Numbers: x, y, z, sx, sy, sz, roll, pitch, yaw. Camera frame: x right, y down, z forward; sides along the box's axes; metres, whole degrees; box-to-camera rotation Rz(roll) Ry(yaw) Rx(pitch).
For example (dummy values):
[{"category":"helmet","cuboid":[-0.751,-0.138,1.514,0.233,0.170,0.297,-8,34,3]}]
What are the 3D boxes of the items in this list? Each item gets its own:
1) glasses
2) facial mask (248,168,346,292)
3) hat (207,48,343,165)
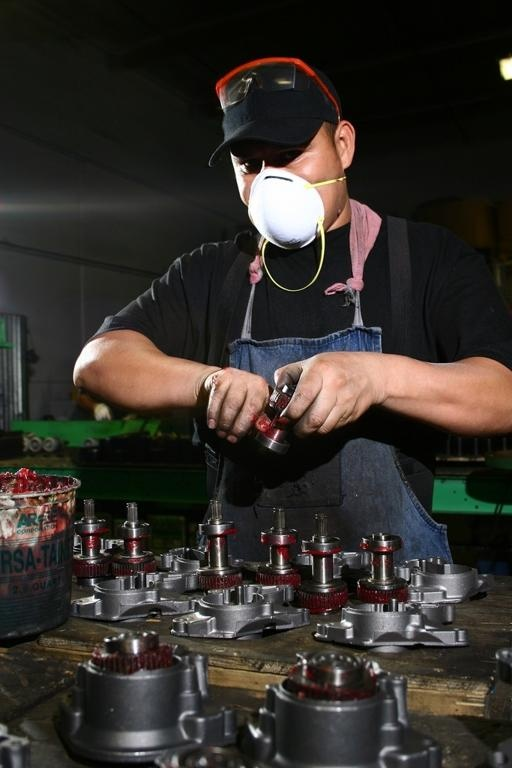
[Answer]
[{"category":"glasses","cuboid":[0.011,-0.624,1.469,0.210,0.062,0.234,-10,7,23]},{"category":"facial mask","cuboid":[0.054,-0.323,1.452,0.231,0.238,0.222,-4,-6,32]},{"category":"hat","cuboid":[0.043,-0.586,1.434,0.245,0.160,0.336,-1,22,29]}]
